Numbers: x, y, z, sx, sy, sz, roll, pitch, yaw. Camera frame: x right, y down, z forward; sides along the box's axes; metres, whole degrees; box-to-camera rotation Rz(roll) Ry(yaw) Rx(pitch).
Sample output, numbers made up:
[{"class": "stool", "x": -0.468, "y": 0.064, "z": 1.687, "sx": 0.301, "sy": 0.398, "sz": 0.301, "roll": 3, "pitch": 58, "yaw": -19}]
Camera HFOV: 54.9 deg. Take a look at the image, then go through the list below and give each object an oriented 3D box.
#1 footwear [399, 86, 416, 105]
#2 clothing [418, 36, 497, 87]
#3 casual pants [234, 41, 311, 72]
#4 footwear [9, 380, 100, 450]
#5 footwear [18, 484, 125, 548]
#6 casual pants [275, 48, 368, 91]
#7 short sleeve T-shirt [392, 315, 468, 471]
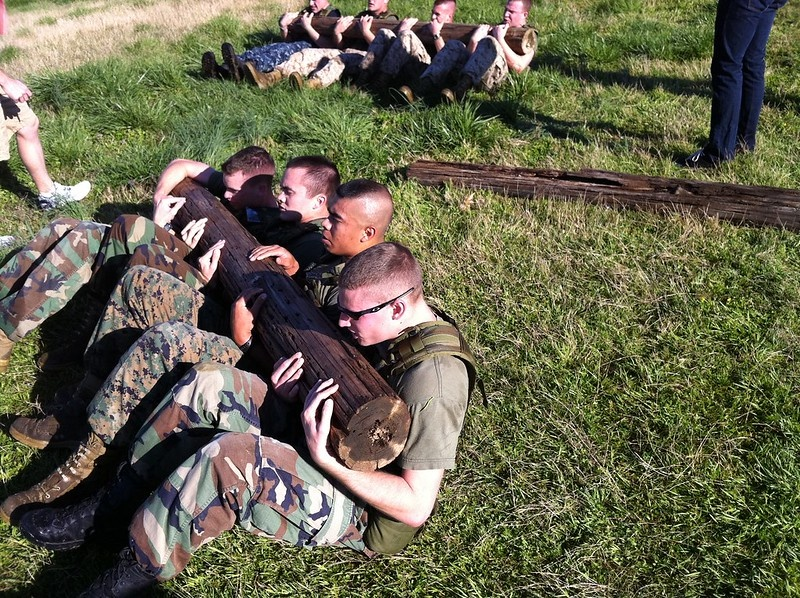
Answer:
[{"class": "footwear", "x": 0.096, "y": -2.343, "z": 8.831, "sx": 0.045, "sy": 0.203, "sz": 0.195, "roll": -28, "pitch": 25, "yaw": -15}, {"class": "clothing", "x": 0.746, "y": -2.810, "z": 9.098, "sx": 0.518, "sy": 0.401, "sz": 0.879, "roll": 7, "pitch": 27, "yaw": 39}, {"class": "casual pants", "x": -1.672, "y": -3.292, "z": 10.262, "sx": 0.901, "sy": 0.295, "sz": 0.525, "roll": -33, "pitch": 33, "yaw": -29}, {"class": "footwear", "x": -2.572, "y": 0.854, "z": 5.721, "sx": 0.581, "sy": 0.479, "sz": 0.238, "roll": 10, "pitch": 4, "yaw": -31}, {"class": "footwear", "x": -2.263, "y": 1.485, "z": 5.260, "sx": 0.674, "sy": 0.315, "sz": 0.266, "roll": -7, "pitch": 60, "yaw": -22}, {"class": "casual pants", "x": -1.031, "y": -2.749, "z": 9.765, "sx": 1.028, "sy": 0.369, "sz": 0.639, "roll": -27, "pitch": 36, "yaw": -32}, {"class": "short sleeve T-shirt", "x": 0.253, "y": 0.602, "z": 5.144, "sx": 0.397, "sy": 0.814, "sz": 0.796, "roll": 4, "pitch": 28, "yaw": 8}]
